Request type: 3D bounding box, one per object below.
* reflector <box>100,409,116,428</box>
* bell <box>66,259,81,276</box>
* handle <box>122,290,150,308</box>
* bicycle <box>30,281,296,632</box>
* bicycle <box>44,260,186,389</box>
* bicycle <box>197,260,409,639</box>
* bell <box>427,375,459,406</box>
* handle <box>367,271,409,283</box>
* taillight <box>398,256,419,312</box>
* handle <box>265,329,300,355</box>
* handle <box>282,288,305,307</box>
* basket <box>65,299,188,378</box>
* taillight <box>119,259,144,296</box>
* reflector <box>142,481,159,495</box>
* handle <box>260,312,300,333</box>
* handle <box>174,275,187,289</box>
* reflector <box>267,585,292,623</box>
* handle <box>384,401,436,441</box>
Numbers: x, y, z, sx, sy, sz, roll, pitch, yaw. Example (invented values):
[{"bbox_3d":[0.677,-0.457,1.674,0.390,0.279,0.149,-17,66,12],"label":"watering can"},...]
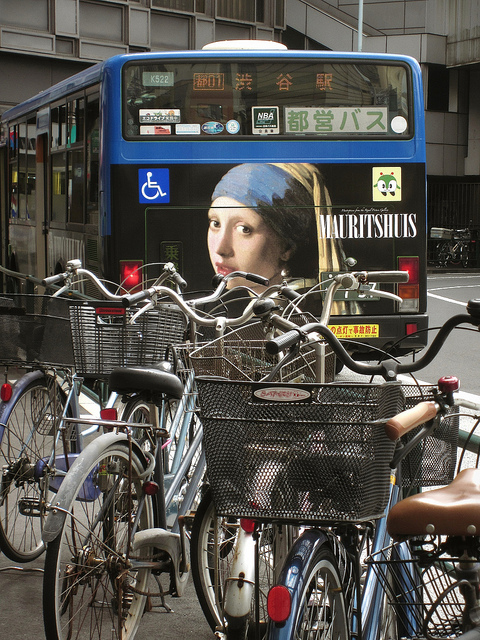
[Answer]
[{"bbox_3d":[-0.482,0.375,2.862,0.052,0.075,0.059,1,1,-3],"label":"reflector"},{"bbox_3d":[-0.893,-0.284,4.119,0.062,0.098,0.101,2,8,21],"label":"bell"},{"bbox_3d":[-0.390,-0.082,3.008,0.045,0.044,0.145,-33,-6,32],"label":"handle"},{"bbox_3d":[-0.215,0.535,3.146,0.702,1.190,1.950,1,2,19],"label":"bicycle"},{"bbox_3d":[-0.593,0.029,3.724,0.531,0.566,0.606,5,0,-7],"label":"bicycle"},{"bbox_3d":[0.102,0.527,2.196,0.450,1.206,1.210,1,4,-2],"label":"bicycle"},{"bbox_3d":[0.535,0.192,2.040,0.082,0.092,0.064,1,3,0],"label":"bell"},{"bbox_3d":[0.567,-0.163,3.014,0.122,0.044,0.267,4,4,27],"label":"handle"},{"bbox_3d":[1.621,-0.341,7.448,0.210,0.603,0.075,1,29,13],"label":"taillight"},{"bbox_3d":[0.092,0.050,1.653,0.032,0.029,0.115,-27,-3,23],"label":"handle"},{"bbox_3d":[0.185,-0.074,2.752,0.049,0.060,0.178,5,10,-13],"label":"handle"},{"bbox_3d":[-0.682,0.114,3.639,0.334,0.315,0.458,4,-3,-29],"label":"basket"},{"bbox_3d":[-0.975,-0.391,6.983,0.222,0.298,0.288,1,4,-10],"label":"taillight"},{"bbox_3d":[-0.327,0.620,2.801,0.053,0.054,0.047,1,4,-3],"label":"reflector"},{"bbox_3d":[0.100,0.006,1.985,0.036,0.041,0.145,15,2,-12],"label":"handle"},{"bbox_3d":[-0.310,-0.197,4.096,0.033,0.035,0.134,-11,20,-12],"label":"handle"},{"bbox_3d":[0.085,0.602,1.618,0.043,0.071,0.051,0,4,-17],"label":"reflector"},{"bbox_3d":[0.368,0.212,1.637,0.049,0.071,0.228,-11,4,25],"label":"handle"}]
